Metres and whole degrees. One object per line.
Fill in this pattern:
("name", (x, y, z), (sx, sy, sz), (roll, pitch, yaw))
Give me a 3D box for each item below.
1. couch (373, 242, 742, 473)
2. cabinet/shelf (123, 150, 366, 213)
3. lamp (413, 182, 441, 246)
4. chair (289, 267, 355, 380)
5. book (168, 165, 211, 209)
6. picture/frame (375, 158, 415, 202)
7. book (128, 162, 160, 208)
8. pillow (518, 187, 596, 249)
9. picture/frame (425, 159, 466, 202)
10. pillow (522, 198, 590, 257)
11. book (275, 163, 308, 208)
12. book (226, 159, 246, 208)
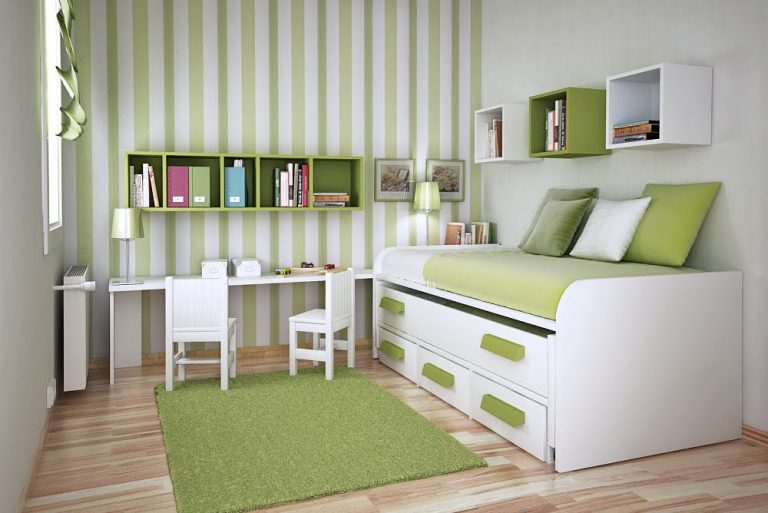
("couch", (1.134, 0.556, 4.560), (1.547, 1.149, 2.713), (-1, 5, -20))
("cabinet/shelf", (-1.153, -0.621, 4.925), (2.001, 0.462, 0.281), (-3, -2, -24))
("lamp", (0.413, -0.407, 5.448), (0.253, 0.610, 0.305), (1, 11, 6))
("chair", (-0.521, 0.505, 4.666), (0.529, 0.890, 0.760), (-1, 11, -5))
("book", (-1.614, -0.543, 4.848), (0.435, 0.422, 0.310), (1, 3, -12))
("picture/frame", (0.081, -0.734, 5.418), (0.424, 0.429, 0.018), (-1, 5, -16))
("book", (-1.989, -0.573, 4.638), (0.340, 0.324, 0.077), (-1, 1, -14))
("pillow", (1.434, -0.325, 4.488), (0.162, 0.502, 0.541), (27, -2, -11))
("picture/frame", (0.581, -0.741, 5.509), (0.439, 0.461, 0.032), (0, -2, -20))
("pillow", (1.308, -0.223, 4.256), (0.144, 0.433, 0.459), (31, -9, -24))
("book", (-0.821, -0.619, 4.978), (0.357, 0.488, 0.351), (0, 5, -13))
("book", (-1.274, -0.619, 4.852), (0.214, 0.394, 0.165), (-6, 13, -29))
